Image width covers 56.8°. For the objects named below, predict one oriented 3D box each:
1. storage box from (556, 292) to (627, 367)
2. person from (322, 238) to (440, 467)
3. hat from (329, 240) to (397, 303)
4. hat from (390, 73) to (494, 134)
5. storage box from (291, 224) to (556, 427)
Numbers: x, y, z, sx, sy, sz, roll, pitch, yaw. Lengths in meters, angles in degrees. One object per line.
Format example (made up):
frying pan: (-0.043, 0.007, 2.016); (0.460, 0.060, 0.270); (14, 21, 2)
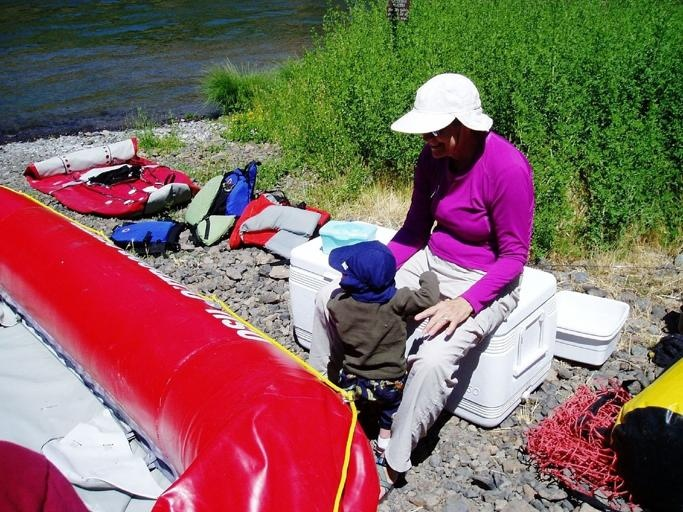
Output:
storage box: (1.986, 0.572, 5.054); (0.538, 0.330, 0.625); (9, 34, 19)
person: (0.298, 0.722, 4.417); (0.766, 1.644, 0.700); (0, 15, 12)
hat: (0.117, 0.095, 4.195); (0.425, 0.287, 0.326); (27, 8, -3)
hat: (0.683, -0.977, 4.090); (0.496, 0.278, 0.421); (0, 16, -4)
storage box: (0.592, 0.501, 4.230); (1.083, 0.581, 0.614); (21, 33, 35)
